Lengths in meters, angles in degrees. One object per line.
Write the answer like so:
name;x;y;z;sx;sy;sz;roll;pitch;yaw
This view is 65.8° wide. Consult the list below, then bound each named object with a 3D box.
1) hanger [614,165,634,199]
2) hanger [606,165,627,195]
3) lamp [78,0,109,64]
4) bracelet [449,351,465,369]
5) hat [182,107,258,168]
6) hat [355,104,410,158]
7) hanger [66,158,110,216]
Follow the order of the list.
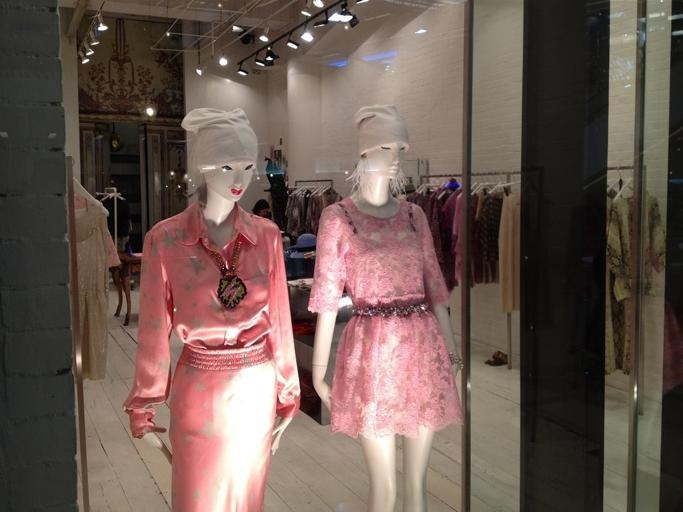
hanger;1.010;-0.264;1.879;0.021;0.091;0.093;4;0;-14
hanger;0.994;-0.277;1.902;0.019;0.080;0.081;8;0;-40
lamp;-0.806;-0.731;1.716;0.045;0.204;0.064;18;-16;-7
bracelet;0.407;0.369;1.880;0.068;0.056;0.025;-9;18;-1
hat;-0.362;-0.341;1.642;0.193;0.196;0.169;6;3;35
hat;0.133;-0.406;1.850;0.164;0.168;0.151;-4;-6;32
hanger;-0.816;-0.228;1.697;0.010;0.225;0.192;0;2;21
